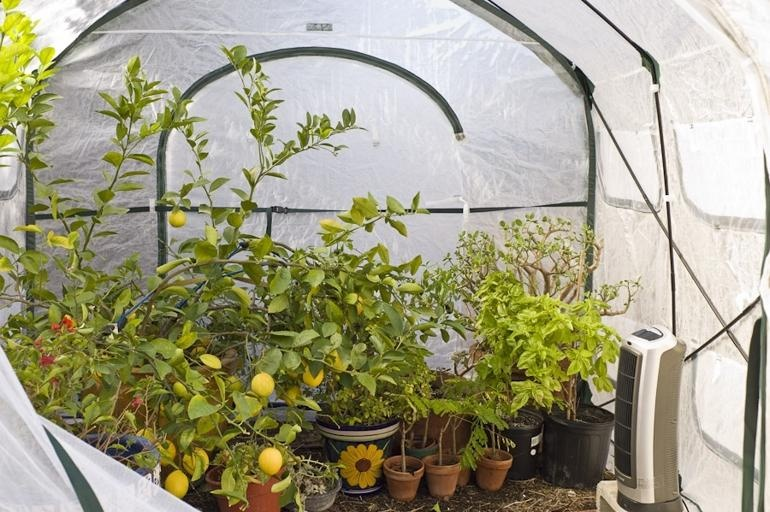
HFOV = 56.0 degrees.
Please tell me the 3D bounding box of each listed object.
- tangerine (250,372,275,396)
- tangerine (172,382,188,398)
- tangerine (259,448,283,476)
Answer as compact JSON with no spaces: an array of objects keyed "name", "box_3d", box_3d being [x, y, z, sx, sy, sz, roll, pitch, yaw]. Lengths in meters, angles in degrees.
[{"name":"tangerine","box_3d":[-0.532,0.576,3.154,0.093,0.118,0.096,-5,10,-10]},{"name":"tangerine","box_3d":[-0.906,0.590,3.200,0.064,0.059,0.087,6,-3,-17]},{"name":"tangerine","box_3d":[-0.481,0.892,3.111,0.105,0.141,0.112,-7,-19,18]}]
